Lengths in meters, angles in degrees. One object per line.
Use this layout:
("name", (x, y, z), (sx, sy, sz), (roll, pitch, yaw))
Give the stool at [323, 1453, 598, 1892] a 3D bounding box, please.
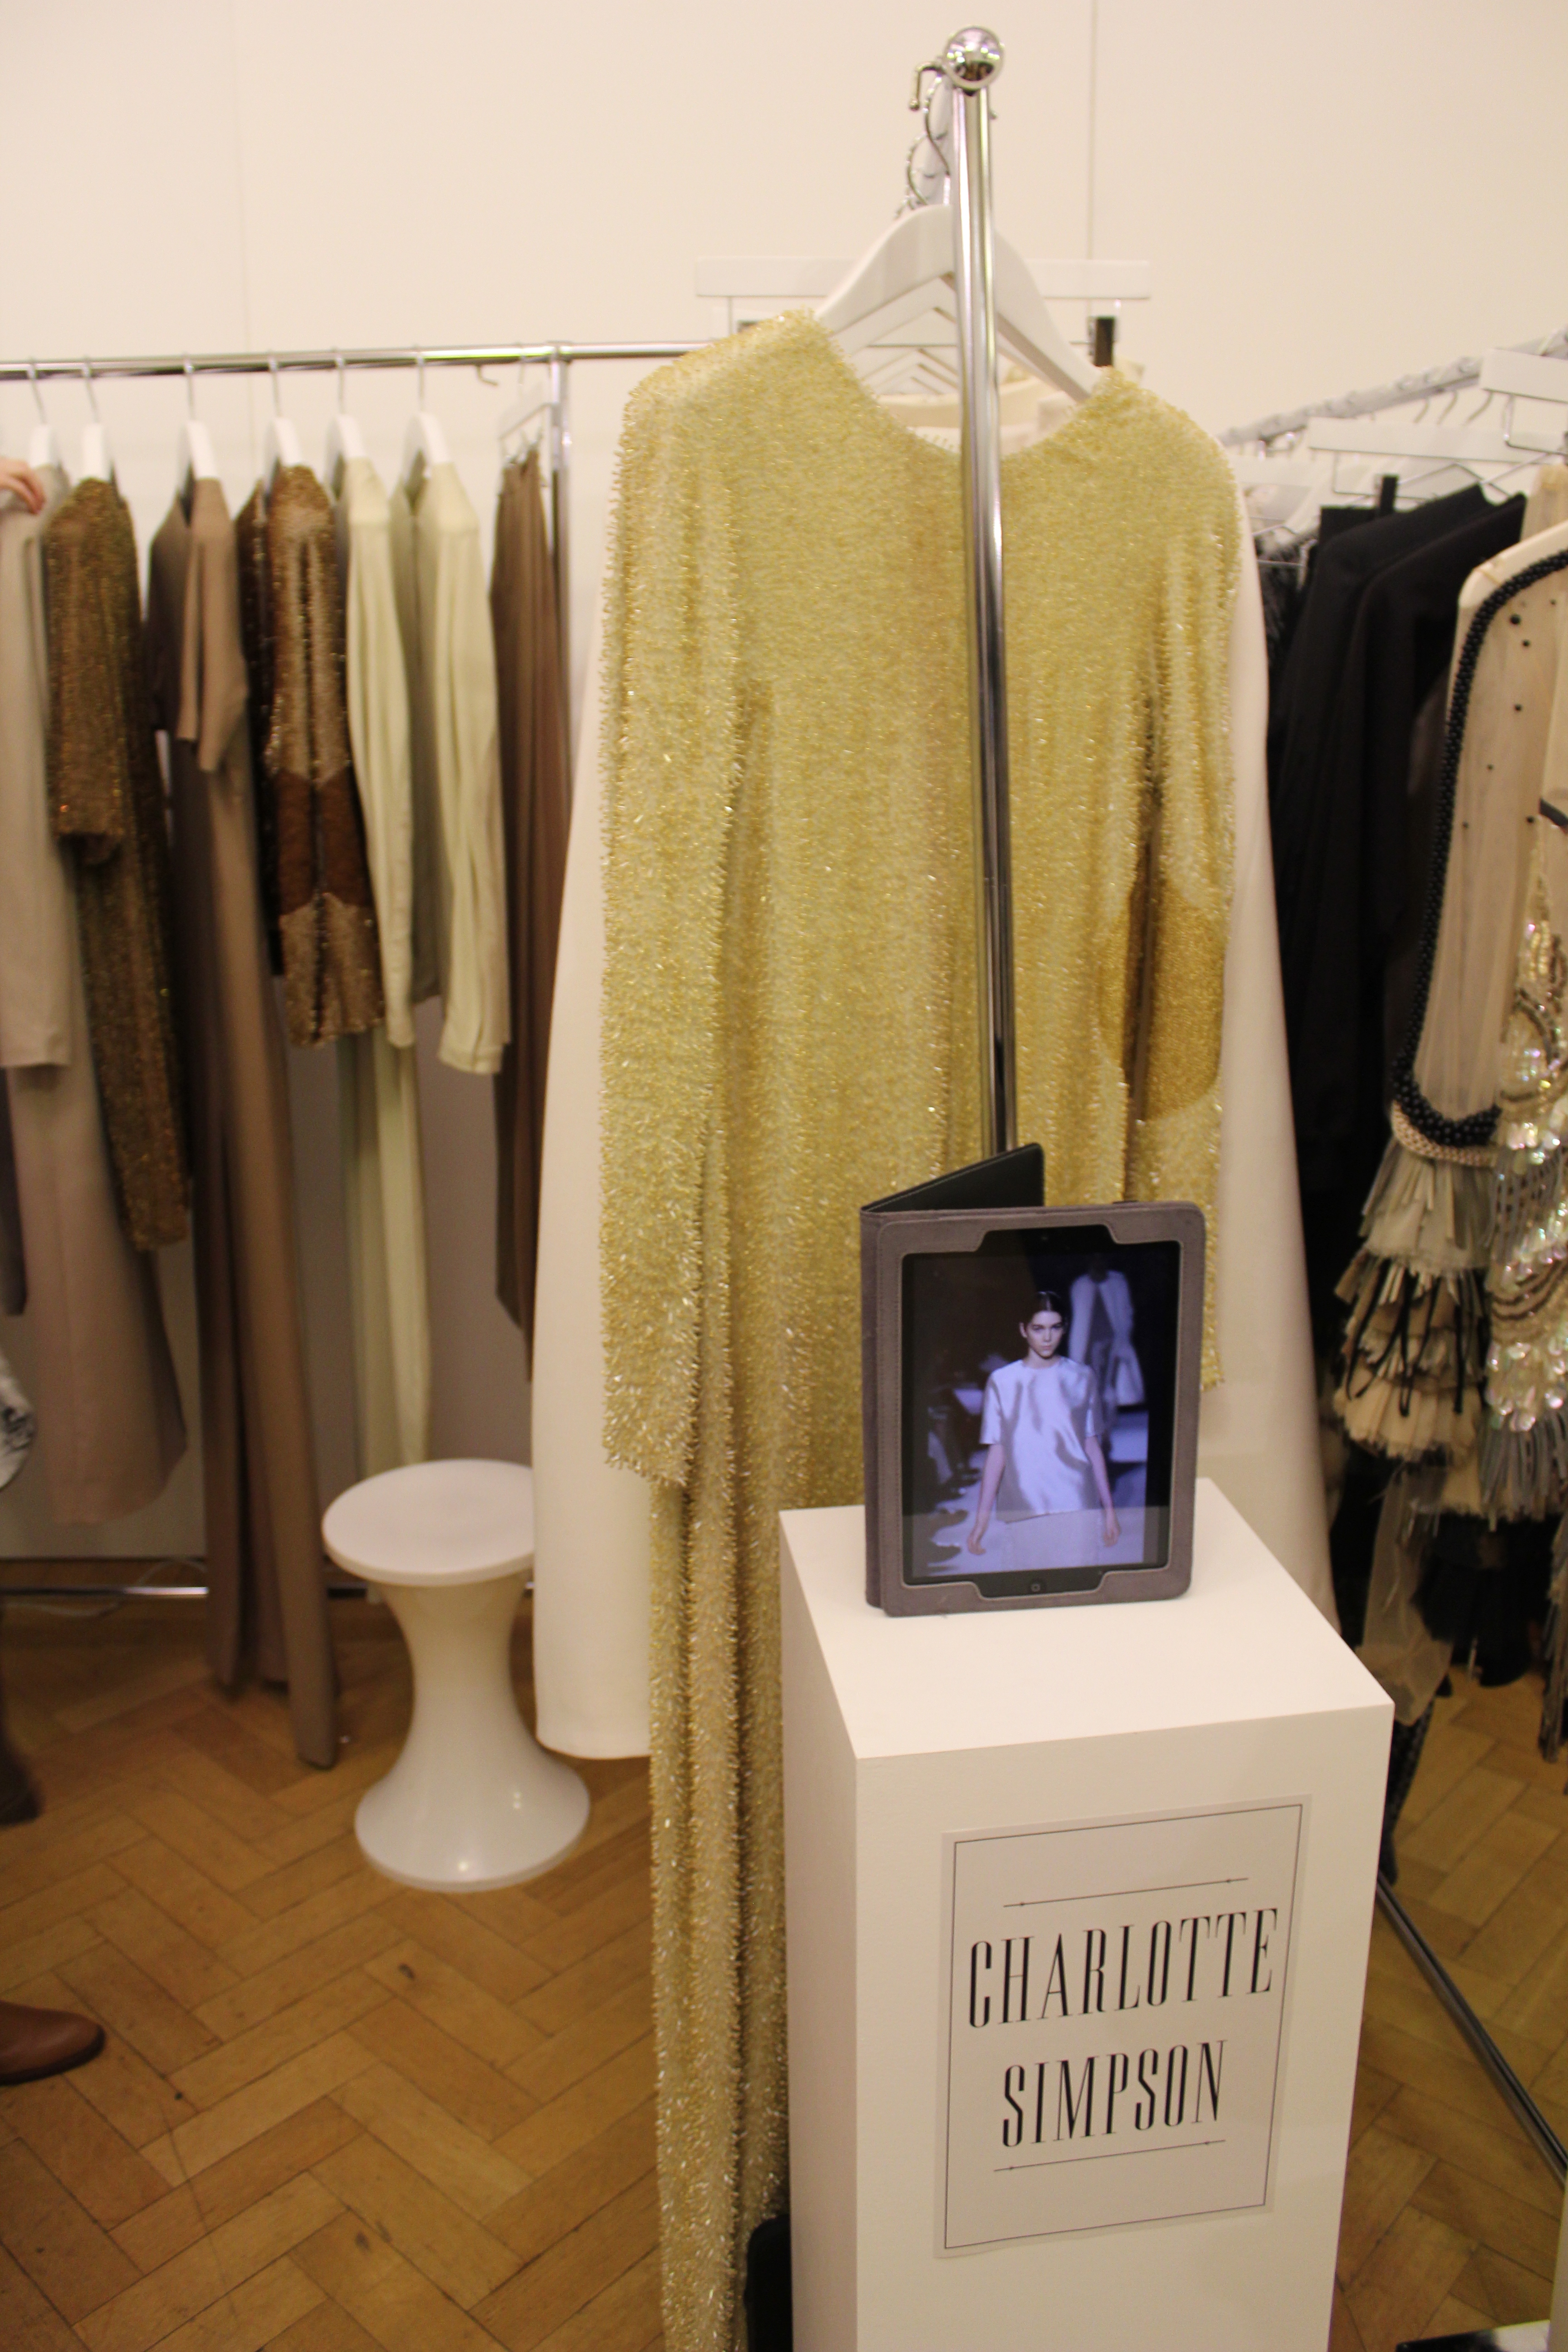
("stool", (-0.359, 0.510, 2.169), (0.269, 0.410, 0.357), (-4, 13, -9))
